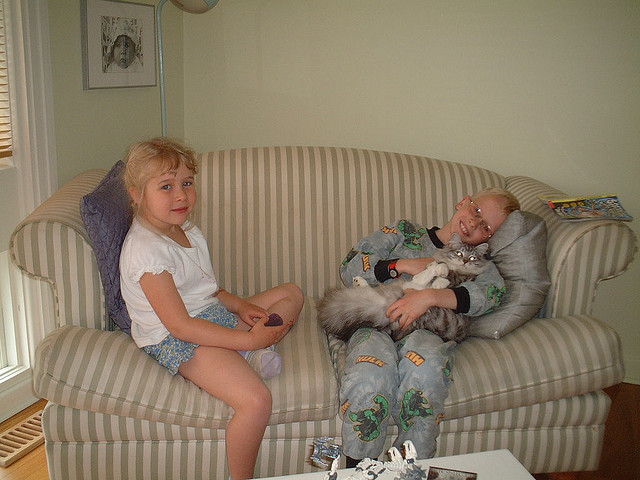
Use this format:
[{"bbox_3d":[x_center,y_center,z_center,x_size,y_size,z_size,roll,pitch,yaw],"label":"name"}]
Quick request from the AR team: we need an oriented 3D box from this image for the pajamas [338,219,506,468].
[{"bbox_3d":[0.330,0.438,2.189,0.603,1.019,0.578,-2,14,-15],"label":"pajamas"}]

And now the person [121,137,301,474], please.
[{"bbox_3d":[-0.470,0.243,2.129,0.772,1.301,0.549,8,17,26],"label":"person"}]

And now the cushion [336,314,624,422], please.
[{"bbox_3d":[0.799,0.569,2.288,0.926,0.265,0.531,-7,20,-8],"label":"cushion"}]

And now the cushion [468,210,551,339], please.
[{"bbox_3d":[0.914,0.156,2.452,0.418,0.254,0.792,-21,21,39],"label":"cushion"}]

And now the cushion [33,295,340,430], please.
[{"bbox_3d":[-0.578,0.361,2.623,1.414,0.398,1.223,0,13,-10],"label":"cushion"}]
